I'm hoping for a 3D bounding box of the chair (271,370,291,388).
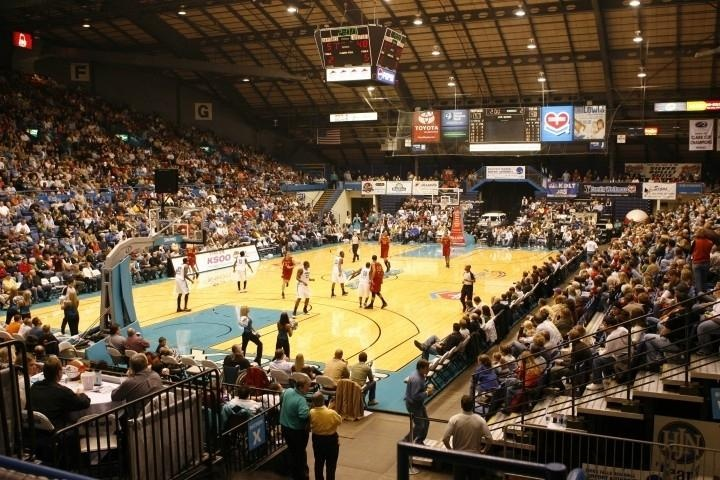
[{"bbox_3d":[-1.795,3.169,14.391,0.308,0.413,0.312,8,26,17],"label":"chair"}]

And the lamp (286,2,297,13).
[{"bbox_3d":[-3.106,-10.726,29.154,0.429,0.274,0.793,-2,1,-1],"label":"lamp"}]

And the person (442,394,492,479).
[{"bbox_3d":[2.028,3.766,11.777,0.918,1.735,0.755,-2,1,-7],"label":"person"}]

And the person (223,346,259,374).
[{"bbox_3d":[-2.972,3.011,15.802,0.549,0.841,0.676,12,28,29],"label":"person"}]

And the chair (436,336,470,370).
[{"bbox_3d":[2.483,3.019,16.885,0.273,0.382,0.944,15,25,31],"label":"chair"}]

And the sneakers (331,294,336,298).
[{"bbox_3d":[-1.025,2.180,24.650,0.163,0.058,0.259,-2,1,-2],"label":"sneakers"}]

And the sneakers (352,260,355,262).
[{"bbox_3d":[-0.322,1.082,33.187,0.143,0.141,0.068,1,17,-1],"label":"sneakers"}]

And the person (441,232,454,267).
[{"bbox_3d":[4.275,0.430,30.963,0.347,1.768,1.304,-2,1,10],"label":"person"}]

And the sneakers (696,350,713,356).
[{"bbox_3d":[6.814,2.235,12.524,0.240,0.113,0.268,-2,1,0],"label":"sneakers"}]

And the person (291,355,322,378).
[{"bbox_3d":[-1.253,2.947,14.857,0.551,0.323,0.773,5,5,6],"label":"person"}]

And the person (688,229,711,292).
[{"bbox_3d":[8.324,0.488,15.347,0.456,1.536,0.572,-2,1,26],"label":"person"}]

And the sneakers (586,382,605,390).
[{"bbox_3d":[4.849,2.987,12.952,0.394,0.173,0.149,2,4,23],"label":"sneakers"}]

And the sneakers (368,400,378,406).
[{"bbox_3d":[0.335,3.975,15.468,0.262,0.113,0.089,-4,8,-11],"label":"sneakers"}]

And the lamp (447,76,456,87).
[{"bbox_3d":[5.599,-9.999,39.453,0.707,0.760,0.731,3,13,15],"label":"lamp"}]

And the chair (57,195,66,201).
[{"bbox_3d":[-13.368,-1.893,28.288,0.272,0.328,0.248,3,7,22],"label":"chair"}]

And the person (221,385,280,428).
[{"bbox_3d":[-2.236,3.337,12.928,1.200,0.700,1.276,-2,1,8],"label":"person"}]

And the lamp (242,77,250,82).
[{"bbox_3d":[-7.796,-10.957,42.842,0.448,0.109,0.461,-2,2,11],"label":"lamp"}]

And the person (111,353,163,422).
[{"bbox_3d":[-4.057,2.723,11.549,0.805,1.526,0.814,-10,-21,33],"label":"person"}]

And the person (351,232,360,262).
[{"bbox_3d":[-0.239,0.367,33.426,0.352,1.083,1.051,-2,1,-1],"label":"person"}]

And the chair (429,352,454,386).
[{"bbox_3d":[2.155,3.377,16.470,0.323,0.492,0.934,4,7,24],"label":"chair"}]

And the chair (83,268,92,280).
[{"bbox_3d":[-10.977,1.352,25.394,0.258,0.415,0.428,-7,7,20],"label":"chair"}]

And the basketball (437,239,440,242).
[{"bbox_3d":[5.157,-0.006,41.063,0.207,0.204,0.143,-3,-3,18],"label":"basketball"}]

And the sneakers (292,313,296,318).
[{"bbox_3d":[-2.254,2.587,21.759,0.097,0.112,0.100,-2,8,-3],"label":"sneakers"}]

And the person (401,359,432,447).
[{"bbox_3d":[1.233,3.441,13.448,0.491,1.210,0.782,-2,1,2],"label":"person"}]

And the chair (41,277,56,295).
[{"bbox_3d":[-11.950,1.770,24.353,0.533,0.726,0.562,5,6,39],"label":"chair"}]

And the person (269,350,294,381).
[{"bbox_3d":[-1.855,3.001,15.040,0.540,1.024,0.537,5,47,5],"label":"person"}]
